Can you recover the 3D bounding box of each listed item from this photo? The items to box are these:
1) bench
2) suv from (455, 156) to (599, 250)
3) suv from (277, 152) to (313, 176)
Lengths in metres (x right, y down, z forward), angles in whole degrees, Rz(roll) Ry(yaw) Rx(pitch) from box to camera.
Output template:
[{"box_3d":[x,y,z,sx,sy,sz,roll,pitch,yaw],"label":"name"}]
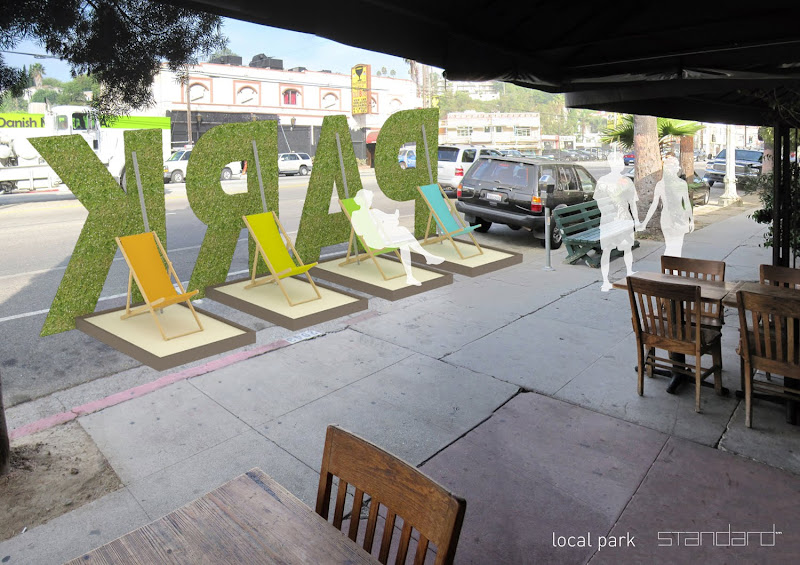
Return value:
[{"box_3d":[5.310,-1.405,11.714,1.072,1.324,3.170,8,19,45],"label":"bench"},{"box_3d":[4.101,-2.718,13.240,2.270,1.629,3.869,17,30,41],"label":"suv"},{"box_3d":[-8.536,-9.622,35.997,2.481,1.757,1.505,-9,20,-21],"label":"suv"}]
